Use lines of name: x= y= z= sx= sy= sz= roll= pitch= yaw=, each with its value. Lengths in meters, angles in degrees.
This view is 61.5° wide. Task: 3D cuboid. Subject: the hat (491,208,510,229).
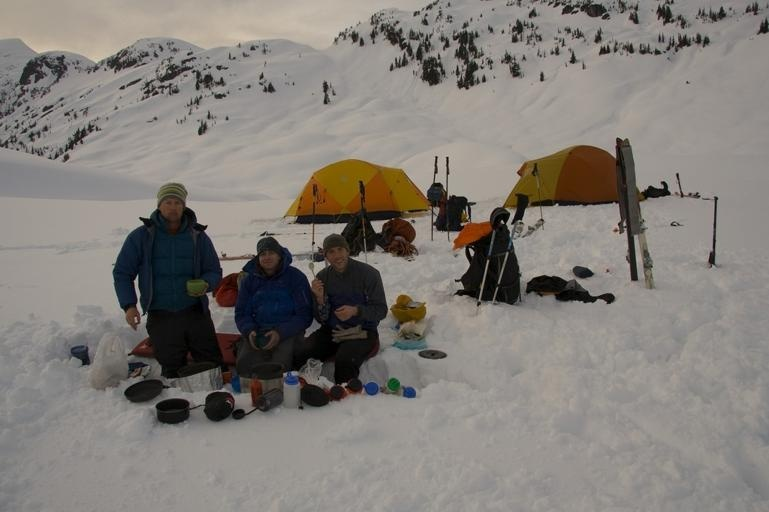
hat: x=2.267 y=-0.742 z=12.668 sx=0.405 sy=0.443 sz=0.308 roll=17 pitch=11 yaw=42

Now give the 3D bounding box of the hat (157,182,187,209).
hat: x=-3.814 y=-1.085 z=11.588 sx=0.412 sy=0.379 sz=0.442 roll=-2 pitch=2 yaw=-22

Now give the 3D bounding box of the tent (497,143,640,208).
tent: x=5.283 y=-2.273 z=19.159 sx=2.593 sy=1.090 sz=2.684 roll=1 pitch=10 yaw=27

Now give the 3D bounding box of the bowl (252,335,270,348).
bowl: x=-2.202 y=1.513 z=11.508 sx=0.235 sy=0.198 sz=0.250 roll=5 pitch=-3 yaw=0

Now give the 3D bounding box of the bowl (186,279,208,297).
bowl: x=-3.267 y=0.541 z=11.289 sx=0.282 sy=0.239 sz=0.297 roll=0 pitch=7 yaw=0

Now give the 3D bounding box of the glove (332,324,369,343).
glove: x=-0.635 y=1.413 z=11.699 sx=0.389 sy=0.191 sz=0.378 roll=-3 pitch=0 yaw=13

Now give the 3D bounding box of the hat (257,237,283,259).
hat: x=-2.092 y=-0.160 z=11.776 sx=0.329 sy=0.309 sz=0.364 roll=-2 pitch=7 yaw=-4
